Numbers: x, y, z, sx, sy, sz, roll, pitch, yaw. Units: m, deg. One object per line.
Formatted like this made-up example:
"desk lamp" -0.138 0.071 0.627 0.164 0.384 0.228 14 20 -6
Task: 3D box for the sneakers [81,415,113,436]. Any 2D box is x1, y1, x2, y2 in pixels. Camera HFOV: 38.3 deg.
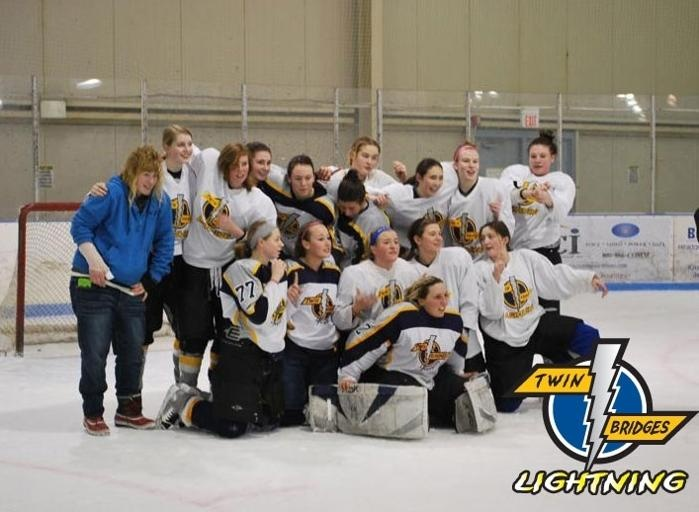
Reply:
"sneakers" -2.447 1.651 9.805 0.306 0.156 0.122 2 1 33

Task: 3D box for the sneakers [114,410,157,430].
"sneakers" -2.114 1.632 10.052 0.411 0.188 0.160 0 -2 6
